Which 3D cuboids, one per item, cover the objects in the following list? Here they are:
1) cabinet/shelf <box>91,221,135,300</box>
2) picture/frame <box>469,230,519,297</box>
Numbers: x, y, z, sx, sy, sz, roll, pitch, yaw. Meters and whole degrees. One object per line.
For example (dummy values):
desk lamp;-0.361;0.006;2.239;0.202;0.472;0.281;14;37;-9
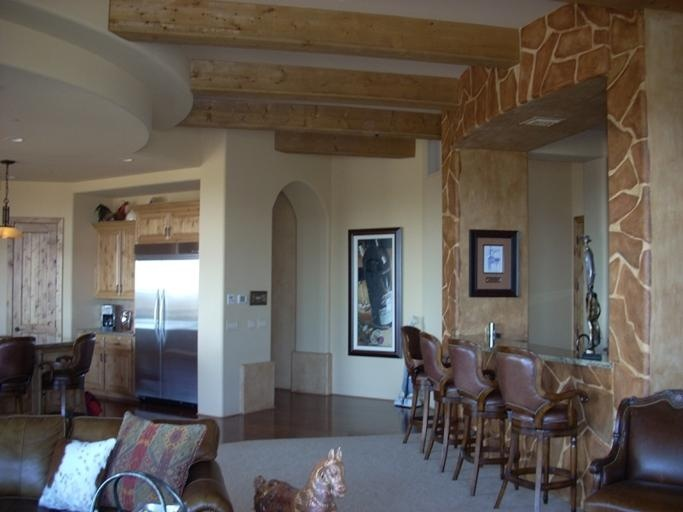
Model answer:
cabinet/shelf;-3.834;0.058;9.259;1.152;1.276;0.427;-1;-2;28
picture/frame;1.839;0.082;6.655;0.585;0.832;0.079;1;21;17
